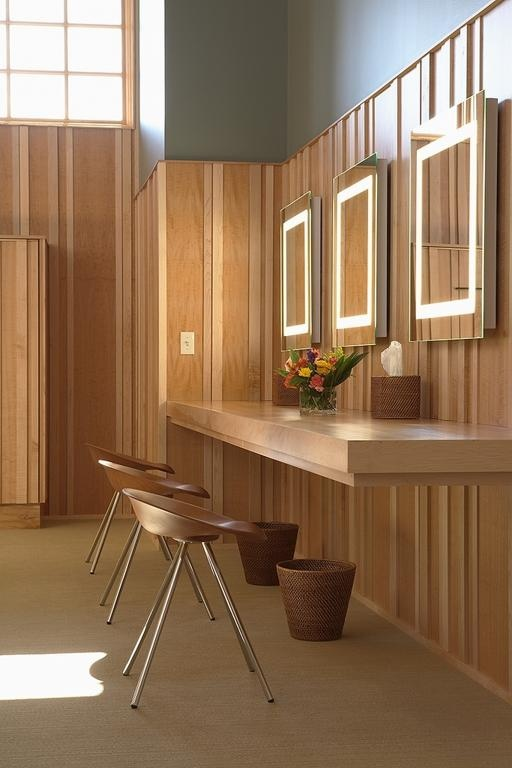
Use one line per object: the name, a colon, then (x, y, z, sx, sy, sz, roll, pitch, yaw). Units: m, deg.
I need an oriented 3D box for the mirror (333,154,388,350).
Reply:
mirror: (0.408, -0.562, 2.908, 0.086, 0.889, 0.541, 6, 14, 33)

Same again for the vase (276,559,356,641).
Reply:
vase: (0.225, 0.809, 2.472, 0.267, 0.271, 0.304, 0, -8, -2)

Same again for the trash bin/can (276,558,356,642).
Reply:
trash bin/can: (0.223, 0.800, 2.400, 0.267, 0.271, 0.304, 0, -7, -3)

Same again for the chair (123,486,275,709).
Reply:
chair: (-0.168, 0.534, 1.773, 0.382, 0.486, 0.403, 13, -28, -31)

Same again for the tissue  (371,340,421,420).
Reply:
tissue : (0.494, -0.008, 2.314, 0.165, 0.284, 0.285, 0, -6, 6)

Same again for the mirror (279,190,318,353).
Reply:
mirror: (0.276, -0.637, 3.928, 0.080, 0.987, 0.711, -2, 3, -13)

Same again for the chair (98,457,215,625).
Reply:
chair: (-0.349, 0.673, 2.533, 0.393, 0.541, 0.433, 13, 4, -28)

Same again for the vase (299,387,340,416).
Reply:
vase: (0.238, 0.063, 2.484, 0.096, 0.082, 0.104, 1, -1, -18)

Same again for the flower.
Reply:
flower: (0.237, -0.011, 2.520, 0.231, 0.250, 0.291, 3, -7, -23)
